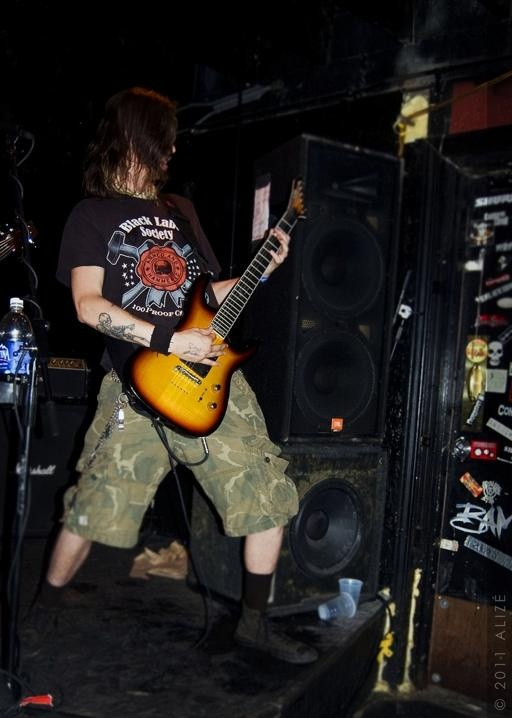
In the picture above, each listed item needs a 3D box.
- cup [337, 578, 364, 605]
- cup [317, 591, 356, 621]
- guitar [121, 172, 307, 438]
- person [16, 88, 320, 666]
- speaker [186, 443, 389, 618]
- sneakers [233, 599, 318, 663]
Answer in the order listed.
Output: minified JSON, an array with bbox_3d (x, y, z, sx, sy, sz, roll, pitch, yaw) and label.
[{"bbox_3d":[0.408,0.919,2.474,0.110,0.103,0.106,1,-7,0],"label":"cup"},{"bbox_3d":[0.319,0.954,2.365,0.085,0.077,0.189,4,-4,34],"label":"cup"},{"bbox_3d":[-0.101,-0.150,1.950,0.288,0.768,0.094,36,-28,-16],"label":"guitar"},{"bbox_3d":[-0.301,0.078,2.016,1.042,1.733,0.598,0,13,-2],"label":"person"},{"bbox_3d":[0.201,0.567,2.731,0.923,0.850,0.665,3,-5,-39],"label":"speaker"},{"bbox_3d":[0.057,0.894,2.040,0.332,0.158,0.115,9,3,15],"label":"sneakers"}]
